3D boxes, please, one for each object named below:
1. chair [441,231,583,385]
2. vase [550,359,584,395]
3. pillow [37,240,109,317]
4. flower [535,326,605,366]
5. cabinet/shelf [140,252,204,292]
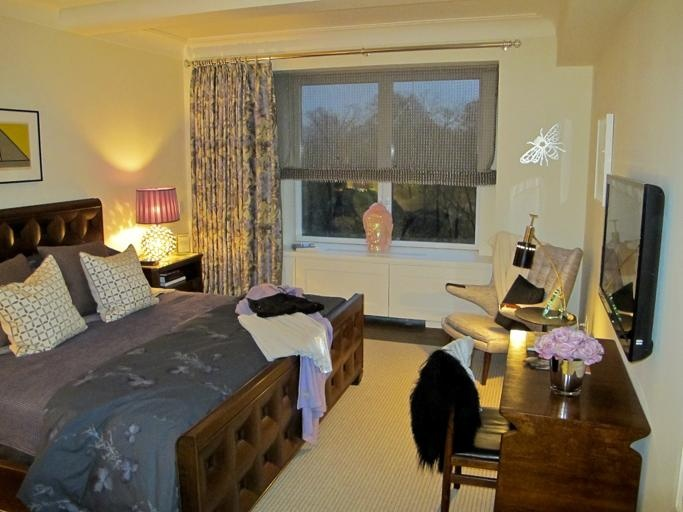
[{"bbox_3d":[1.506,0.459,4.726,1.149,1.241,1.202,6,9,11],"label":"chair"},{"bbox_3d":[1.176,0.618,2.715,0.168,0.206,0.182,1,-1,-2],"label":"vase"},{"bbox_3d":[-2.162,0.161,4.120,0.156,0.551,0.558,-19,-10,26],"label":"pillow"},{"bbox_3d":[1.179,0.464,2.669,0.237,0.099,0.234,-1,12,6],"label":"flower"},{"bbox_3d":[-1.847,0.036,5.482,0.341,0.454,0.669,3,9,18],"label":"cabinet/shelf"}]
